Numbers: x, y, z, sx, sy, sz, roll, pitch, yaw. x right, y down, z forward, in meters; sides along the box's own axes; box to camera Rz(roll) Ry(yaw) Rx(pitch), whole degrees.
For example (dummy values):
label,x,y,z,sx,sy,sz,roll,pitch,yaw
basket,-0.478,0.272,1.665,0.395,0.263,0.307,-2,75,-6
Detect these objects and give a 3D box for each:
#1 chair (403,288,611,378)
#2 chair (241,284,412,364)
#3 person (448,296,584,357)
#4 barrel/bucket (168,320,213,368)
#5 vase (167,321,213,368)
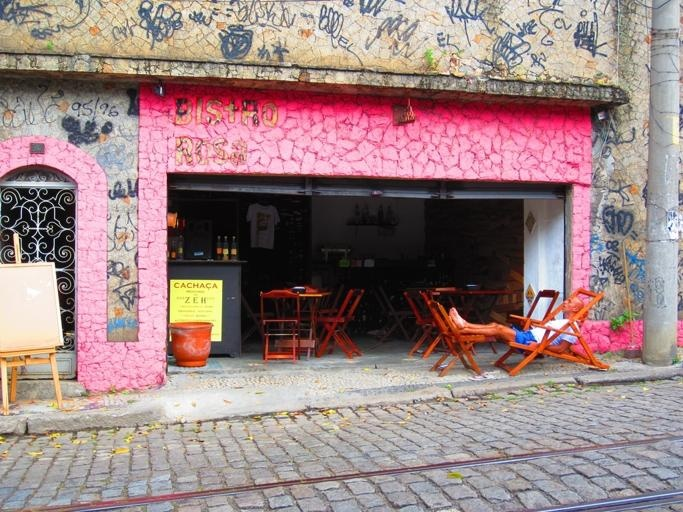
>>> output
label,x,y,z,sx,sy,sz,roll,pitch,yaw
chair,2.952,1.250,11.351,2.759,1.155,1.458,0,-2,-2
chair,-0.660,1.301,13.552,1.400,1.217,2.213,0,1,16
person,2.903,1.131,11.242,2.658,1.117,0.846,2,-4,0
barrel/bucket,-2.505,1.537,11.670,0.877,0.655,0.883,0,-6,0
vase,-2.507,1.536,11.666,0.787,0.646,0.784,-1,-5,11
